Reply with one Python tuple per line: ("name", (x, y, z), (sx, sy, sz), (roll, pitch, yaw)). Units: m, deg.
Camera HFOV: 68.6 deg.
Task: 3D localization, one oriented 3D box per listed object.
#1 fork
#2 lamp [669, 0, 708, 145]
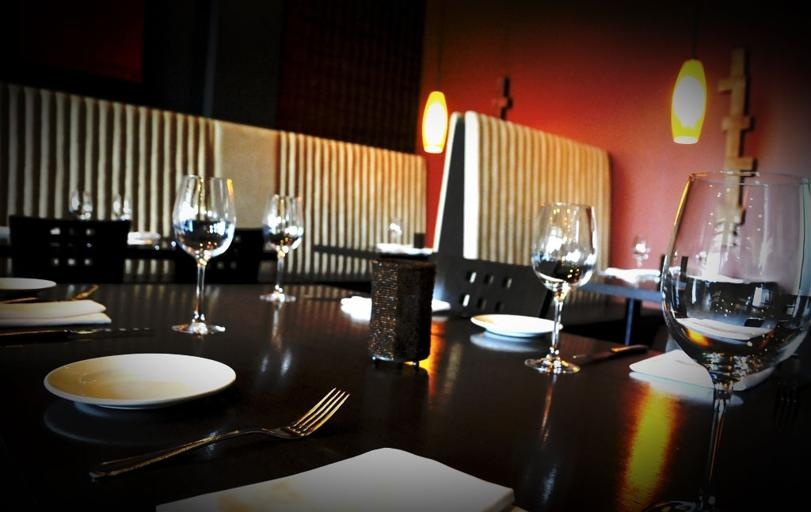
("fork", (-0.265, 0.247, 0.823), (0.318, 0.049, 0.050), (-7, 17, -30))
("lamp", (1.675, -1.072, 3.442), (0.200, 0.835, 0.394), (10, 14, 24))
